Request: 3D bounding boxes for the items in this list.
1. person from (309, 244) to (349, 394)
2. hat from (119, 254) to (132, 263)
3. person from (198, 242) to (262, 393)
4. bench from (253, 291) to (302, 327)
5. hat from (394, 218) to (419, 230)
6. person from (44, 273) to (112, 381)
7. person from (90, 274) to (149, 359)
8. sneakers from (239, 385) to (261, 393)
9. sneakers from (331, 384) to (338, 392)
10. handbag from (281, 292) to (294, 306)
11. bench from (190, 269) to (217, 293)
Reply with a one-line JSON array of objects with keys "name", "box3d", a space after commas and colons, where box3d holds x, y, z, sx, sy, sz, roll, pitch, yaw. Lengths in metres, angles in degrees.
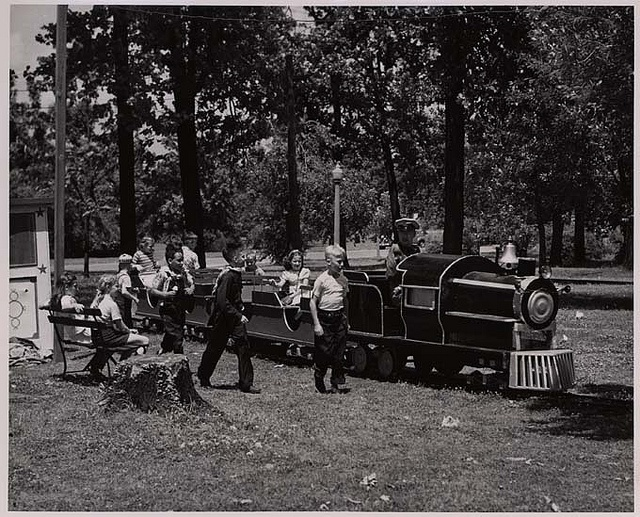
[{"name": "person", "box3d": [0.149, 0.972, 10.718, 0.567, 2.342, 0.572, 1, 6, 0]}, {"name": "hat", "box3d": [-4.073, 0.015, 14.349, 0.288, 0.224, 0.317, -1, -4, 24]}, {"name": "person", "box3d": [-1.417, 0.901, 10.542, 0.914, 2.356, 0.917, -1, 6, -14]}, {"name": "bench", "box3d": [-0.943, 0.943, 13.737, 0.407, 0.620, 1.211, -8, 4, -31]}, {"name": "hat", "box3d": [1.503, -0.586, 11.688, 0.374, 0.200, 0.543, 3, 7, 12]}, {"name": "person", "box3d": [-4.071, 1.227, 11.406, 0.611, 1.064, 1.370, -1, 2, -38]}, {"name": "person", "box3d": [-3.047, 0.882, 10.511, 0.707, 1.141, 0.913, -1, 7, -22]}, {"name": "sneakers", "box3d": [-1.061, 2.005, 10.438, 0.301, 0.160, 0.124, -2, -3, 13]}, {"name": "sneakers", "box3d": [0.236, 2.036, 10.687, 0.091, 0.209, 0.102, 0, 5, -5]}, {"name": "handbag", "box3d": [-0.619, 0.811, 13.260, 0.173, 0.085, 0.223, 5, 42, 34]}, {"name": "bench", "box3d": [-2.686, 0.529, 16.006, 0.574, 0.187, 0.675, -1, 8, 6]}]
